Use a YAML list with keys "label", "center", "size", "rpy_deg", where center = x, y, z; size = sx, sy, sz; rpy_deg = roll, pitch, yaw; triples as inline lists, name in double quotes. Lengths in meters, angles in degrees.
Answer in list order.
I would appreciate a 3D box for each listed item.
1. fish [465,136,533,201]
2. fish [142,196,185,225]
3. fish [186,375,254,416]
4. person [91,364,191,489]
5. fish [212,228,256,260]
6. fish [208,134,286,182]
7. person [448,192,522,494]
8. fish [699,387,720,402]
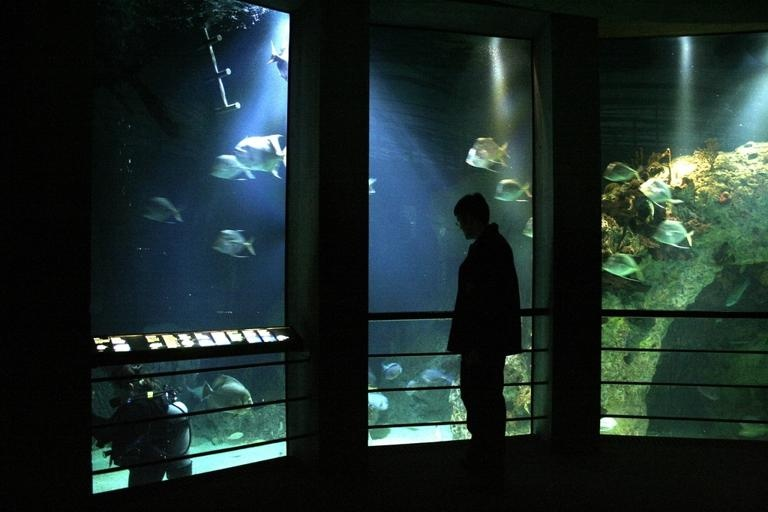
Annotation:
- label: "fish"
  center: [0.891, -0.675, 5.253]
  size: [0.526, 0.520, 0.138]
  rpy_deg: [1, 6, 45]
- label: "fish"
  center: [-1.627, -0.335, 4.942]
  size: [0.272, 0.194, 0.041]
  rpy_deg: [-7, 5, -43]
- label: "fish"
  center: [-1.357, 1.128, 5.587]
  size: [0.526, 0.247, 0.207]
  rpy_deg: [-5, 5, -28]
- label: "person"
  center: [-1.794, 1.265, 4.969]
  size: [0.662, 0.987, 0.944]
  rpy_deg: [-4, 4, -11]
- label: "fish"
  center: [-1.135, -0.096, 5.082]
  size: [0.299, 0.212, 0.054]
  rpy_deg: [-2, 4, 7]
- label: "fish"
  center: [-1.047, -0.751, 5.139]
  size: [0.547, 0.335, 0.084]
  rpy_deg: [-4, 4, -12]
- label: "person"
  center: [0.675, 0.548, 4.599]
  size: [0.509, 1.947, 0.350]
  rpy_deg: [-3, 4, 9]
- label: "fish"
  center: [3.953, 1.667, 8.194]
  size: [0.044, 0.185, 0.209]
  rpy_deg: [36, -15, -27]
